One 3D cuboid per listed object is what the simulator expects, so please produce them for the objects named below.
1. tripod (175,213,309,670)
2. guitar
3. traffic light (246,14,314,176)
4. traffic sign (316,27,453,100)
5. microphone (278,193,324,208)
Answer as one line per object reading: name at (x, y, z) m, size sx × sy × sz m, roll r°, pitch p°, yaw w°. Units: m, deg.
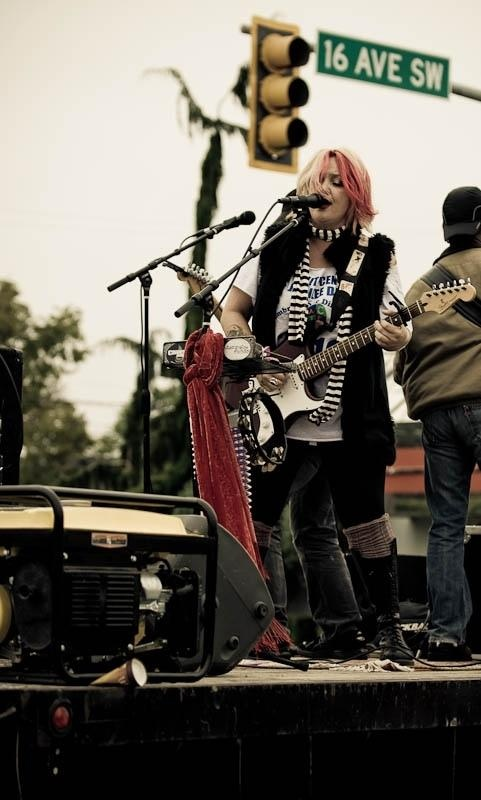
tripod at (-0.095, 0.185, 4.939) m, size 0.302 × 1.348 × 0.806 m, roll 2°, pitch -6°, yaw -11°
guitar at (0.438, -0.139, 5.405) m, size 0.878 × 0.655 × 0.644 m, roll 1°, pitch 4°, yaw 38°
traffic light at (0.176, -1.450, 6.939) m, size 0.183 × 0.873 × 0.242 m, roll 9°, pitch 15°, yaw 33°
traffic sign at (0.702, -1.629, 7.015) m, size 0.741 × 0.260 × 0.106 m, roll -4°, pitch -2°, yaw -22°
microphone at (0.227, -0.736, 5.357) m, size 0.172 × 0.046 × 0.204 m, roll -5°, pitch -2°, yaw 7°
